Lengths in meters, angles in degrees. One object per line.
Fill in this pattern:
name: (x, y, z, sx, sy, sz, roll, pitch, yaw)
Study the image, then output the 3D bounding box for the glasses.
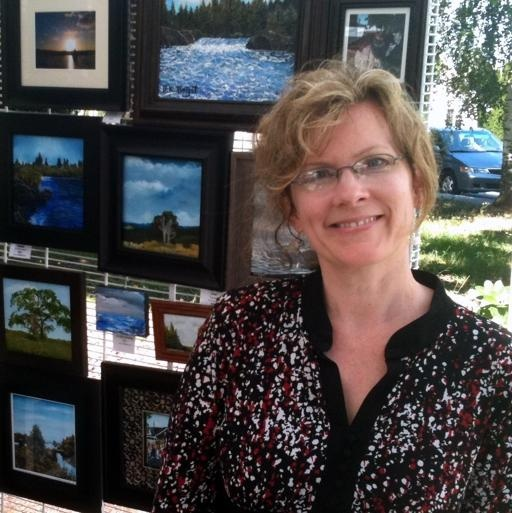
glasses: (0.160, -0.148, 1.079, 0.179, 0.067, 0.046, 4, 10, 18)
